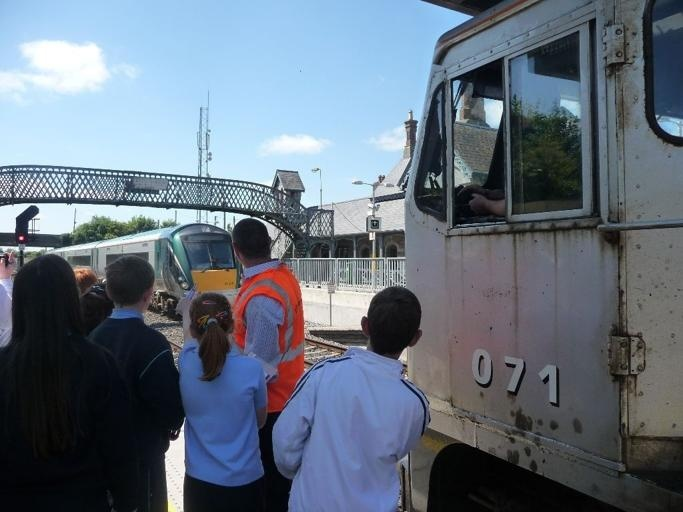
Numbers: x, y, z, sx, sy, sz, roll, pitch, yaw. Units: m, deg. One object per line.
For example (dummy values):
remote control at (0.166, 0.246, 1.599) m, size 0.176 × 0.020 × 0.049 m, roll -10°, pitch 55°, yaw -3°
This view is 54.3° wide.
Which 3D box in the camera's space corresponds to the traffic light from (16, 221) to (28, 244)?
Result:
traffic light at (-5.904, -0.413, 12.298) m, size 0.207 × 0.375 × 0.445 m, roll -3°, pitch 3°, yaw -28°
